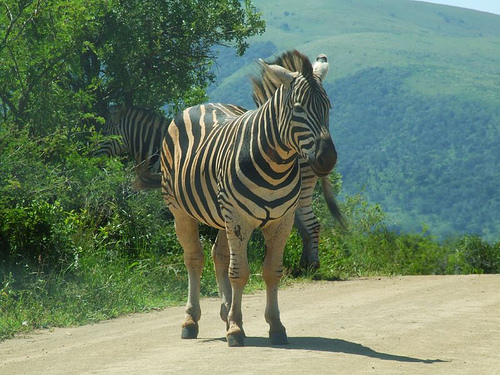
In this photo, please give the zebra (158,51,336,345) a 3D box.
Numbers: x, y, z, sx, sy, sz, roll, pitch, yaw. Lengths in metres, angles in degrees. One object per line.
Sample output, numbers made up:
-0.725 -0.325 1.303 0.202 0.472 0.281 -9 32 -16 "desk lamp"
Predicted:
-0.131 0.223 11.458 1.378 4.216 4.707 -1 -2 -26 "zebra"
